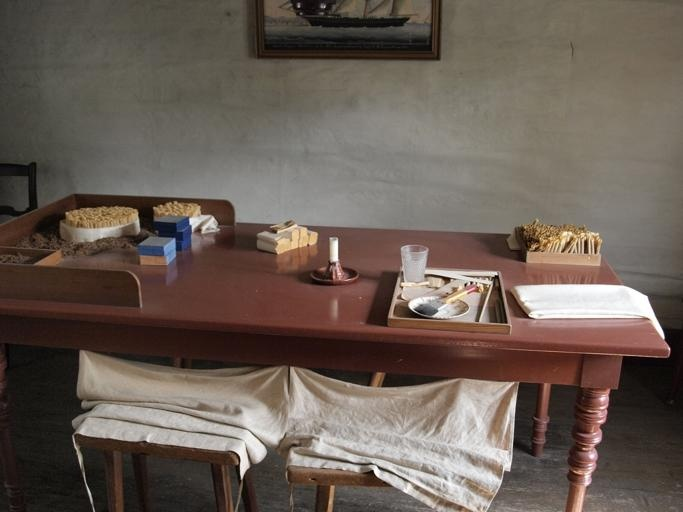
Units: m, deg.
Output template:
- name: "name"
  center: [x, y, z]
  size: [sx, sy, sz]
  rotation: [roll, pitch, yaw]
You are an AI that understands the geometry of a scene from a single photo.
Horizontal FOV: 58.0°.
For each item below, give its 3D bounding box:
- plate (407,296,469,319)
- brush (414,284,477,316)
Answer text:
- name: "plate"
  center: [0.335, 0.181, 2.125]
  size: [0.197, 0.040, 0.181]
  rotation: [4, 12, 18]
- name: "brush"
  center: [0.382, 0.153, 2.171]
  size: [0.292, 0.031, 0.082]
  rotation: [-21, 26, -33]
